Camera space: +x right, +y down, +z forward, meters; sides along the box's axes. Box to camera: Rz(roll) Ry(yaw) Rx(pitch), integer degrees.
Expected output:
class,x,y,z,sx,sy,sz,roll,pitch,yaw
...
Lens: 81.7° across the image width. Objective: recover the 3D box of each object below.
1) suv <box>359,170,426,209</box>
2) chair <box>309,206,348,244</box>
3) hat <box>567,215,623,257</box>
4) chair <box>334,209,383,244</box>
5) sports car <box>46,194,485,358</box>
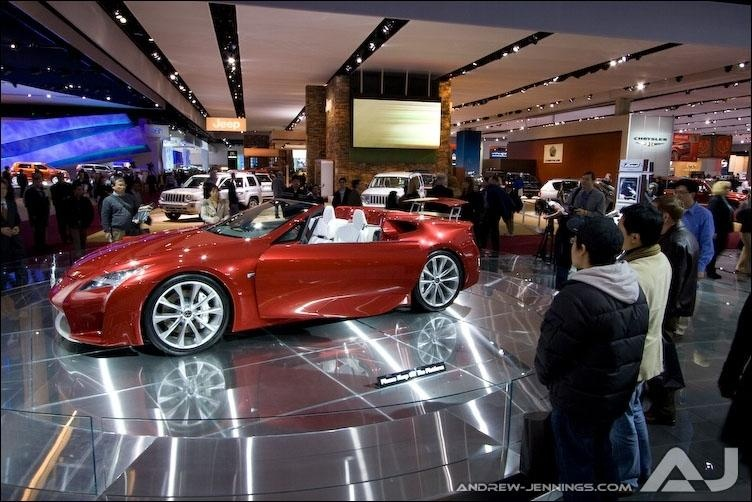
class,x,y,z,sx,sy,sz,roll,pitch,yaw
suv,0.536,-2.049,15.266,1.428,1.138,2.455,3,7,23
chair,-0.638,-0.382,6.023,0.431,0.556,0.534,7,24,8
hat,1.500,-0.095,2.908,0.302,0.276,0.182,3,10,14
chair,-0.284,-0.245,5.576,0.325,0.445,0.394,15,-12,4
sports car,-1.224,0.296,5.441,4.268,1.203,2.274,0,4,-21
